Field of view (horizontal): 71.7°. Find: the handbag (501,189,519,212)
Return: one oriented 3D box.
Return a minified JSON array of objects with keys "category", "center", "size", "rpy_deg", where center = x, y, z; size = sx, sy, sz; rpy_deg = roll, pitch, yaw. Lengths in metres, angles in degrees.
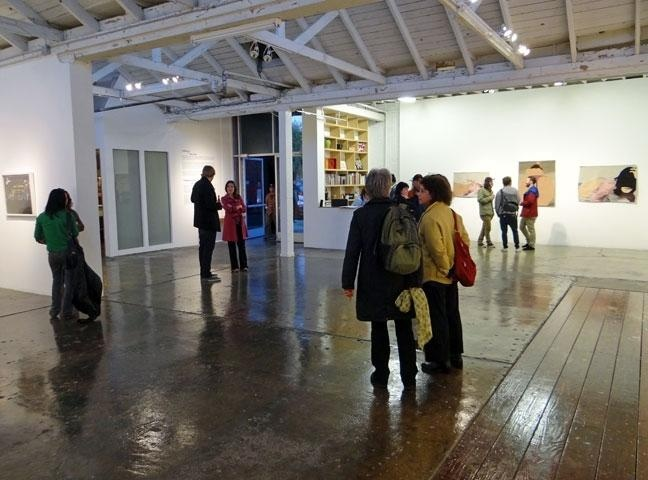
[{"category":"handbag","center":[4.615,-0.925,11.137],"size":[0.379,0.559,0.531],"rpy_deg":[1,-1,5]}]

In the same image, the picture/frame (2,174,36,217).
[{"category":"picture/frame","center":[-4.889,-0.725,7.201],"size":[0.677,0.669,0.052],"rpy_deg":[3,9,30]}]

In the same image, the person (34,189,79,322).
[{"category":"person","center":[-3.599,0.189,6.101],"size":[0.666,1.748,0.359],"rpy_deg":[4,10,27]}]

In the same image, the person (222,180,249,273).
[{"category":"person","center":[-1.780,-0.260,8.869],"size":[0.440,1.770,0.525],"rpy_deg":[-3,9,-13]}]

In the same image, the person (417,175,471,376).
[{"category":"person","center":[1.133,0.323,4.328],"size":[0.514,1.879,0.346],"rpy_deg":[-4,9,-22]}]

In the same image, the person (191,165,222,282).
[{"category":"person","center":[-2.172,-0.311,8.247],"size":[0.563,2.041,0.412],"rpy_deg":[1,9,12]}]

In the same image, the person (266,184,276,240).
[{"category":"person","center":[-1.709,-0.902,14.264],"size":[0.331,1.626,0.317],"rpy_deg":[-1,9,2]}]

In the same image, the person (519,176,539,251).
[{"category":"person","center":[5.110,-0.658,11.174],"size":[0.365,1.802,0.622],"rpy_deg":[3,9,23]}]

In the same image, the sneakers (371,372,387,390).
[{"category":"sneakers","center":[0.503,1.271,4.068],"size":[0.085,0.164,0.166],"rpy_deg":[1,5,-4]}]

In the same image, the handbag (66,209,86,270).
[{"category":"handbag","center":[-3.363,-0.019,6.047],"size":[0.208,0.773,0.399],"rpy_deg":[-4,9,-21]}]

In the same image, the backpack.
[{"category":"backpack","center":[0.676,0.003,3.892],"size":[0.306,0.620,0.388],"rpy_deg":[5,11,35]}]

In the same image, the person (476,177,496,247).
[{"category":"person","center":[4.333,-0.751,11.950],"size":[0.428,1.815,1.098],"rpy_deg":[2,9,20]}]
